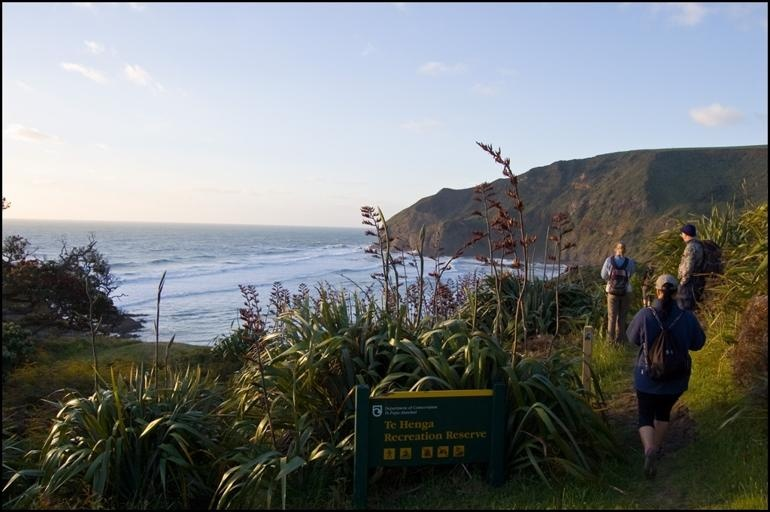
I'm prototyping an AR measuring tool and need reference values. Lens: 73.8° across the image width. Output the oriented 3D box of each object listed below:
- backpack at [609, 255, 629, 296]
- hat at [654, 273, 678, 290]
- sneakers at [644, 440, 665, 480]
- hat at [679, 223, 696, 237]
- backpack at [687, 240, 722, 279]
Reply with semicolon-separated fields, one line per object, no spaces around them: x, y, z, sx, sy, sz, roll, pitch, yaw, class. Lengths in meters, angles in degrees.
4.493;0.394;9.891;0.366;0.718;0.295;4;13;24;backpack
3.626;0.340;6.628;0.244;0.186;0.326;4;27;19;hat
3.234;2.471;6.224;0.202;0.442;0.188;5;-9;3;sneakers
5.446;-0.467;9.236;0.252;0.176;0.320;3;21;19;hat
5.560;0.038;8.855;0.461;0.601;0.807;9;15;40;backpack
